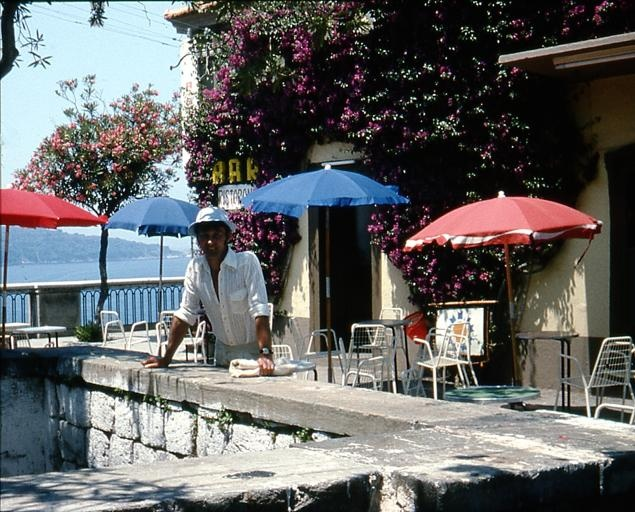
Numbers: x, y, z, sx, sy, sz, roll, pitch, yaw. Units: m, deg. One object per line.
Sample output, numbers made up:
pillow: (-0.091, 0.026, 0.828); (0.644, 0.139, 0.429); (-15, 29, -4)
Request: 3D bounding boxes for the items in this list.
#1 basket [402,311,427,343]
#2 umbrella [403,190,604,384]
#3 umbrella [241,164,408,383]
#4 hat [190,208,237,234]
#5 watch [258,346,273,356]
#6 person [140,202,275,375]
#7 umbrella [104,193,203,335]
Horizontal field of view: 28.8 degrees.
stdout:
basket: (1.213, 0.873, 15.192); (0.296, 0.267, 0.325); (-22, 5, -4)
umbrella: (2.078, 0.565, 13.645); (2.132, 2.584, 2.328); (-3, 5, 10)
umbrella: (0.314, 0.232, 14.427); (1.909, 2.536, 2.082); (-1, -2, 8)
hat: (-1.060, -0.345, 12.306); (0.467, 0.270, 0.523); (-1, -19, 0)
watch: (-0.472, 0.879, 11.339); (0.104, 0.078, 0.095); (4, -6, -34)
person: (-0.916, 0.339, 11.566); (1.084, 1.588, 0.685); (-2, -6, 7)
umbrella: (-2.068, -0.003, 16.862); (0.942, 1.321, 0.972); (2, -6, 2)
